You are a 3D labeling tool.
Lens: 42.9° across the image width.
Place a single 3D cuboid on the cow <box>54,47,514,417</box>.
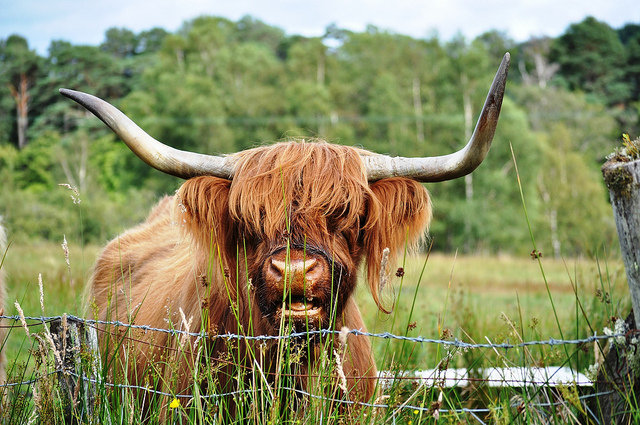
[{"bbox_3d":[-0.915,0.465,10.497,3.408,3.701,4.722,3,-7,-12],"label":"cow"}]
